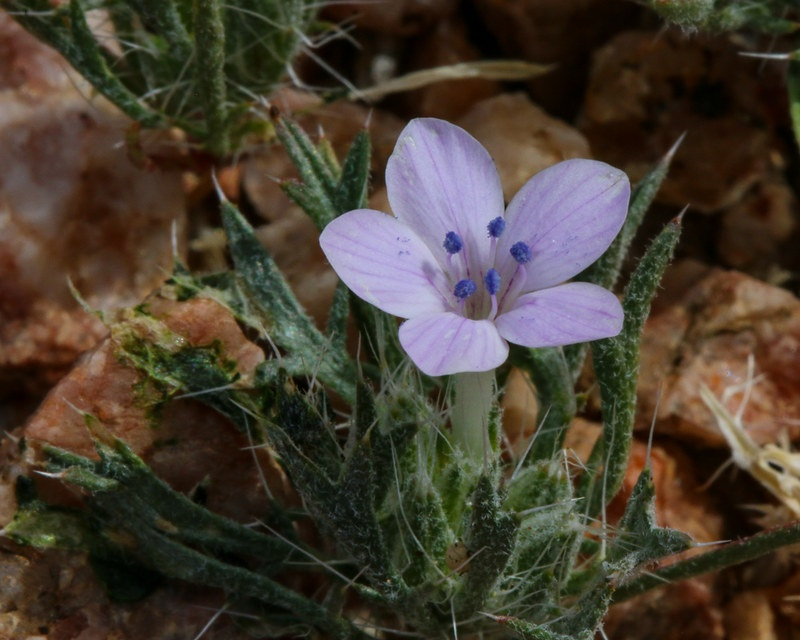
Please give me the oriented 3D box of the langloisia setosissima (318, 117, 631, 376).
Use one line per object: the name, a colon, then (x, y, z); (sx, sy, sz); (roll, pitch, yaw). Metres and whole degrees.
langloisia setosissima: (0.133, -0.074, 1.824); (0.529, 0.237, 0.503); (16, 65, 7)
